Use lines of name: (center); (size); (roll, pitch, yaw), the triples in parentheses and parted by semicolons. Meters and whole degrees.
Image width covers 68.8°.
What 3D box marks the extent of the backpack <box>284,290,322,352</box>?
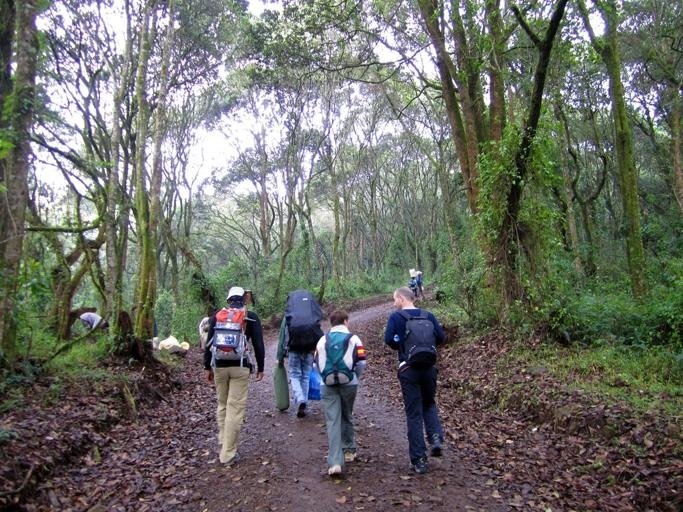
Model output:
backpack: (-0.779, 1.341, 10.320); (0.684, 1.318, 0.457); (-1, -5, 0)

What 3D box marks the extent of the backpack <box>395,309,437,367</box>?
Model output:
backpack: (1.292, 1.394, 8.282); (0.444, 0.873, 0.833); (2, -24, -4)

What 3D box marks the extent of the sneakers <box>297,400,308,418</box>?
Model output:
sneakers: (-0.814, 3.124, 10.061); (0.130, 0.393, 0.157); (1, 29, -2)

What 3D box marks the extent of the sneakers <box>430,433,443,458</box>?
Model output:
sneakers: (1.566, 3.147, 8.234); (0.127, 0.205, 0.428); (1, -44, 4)

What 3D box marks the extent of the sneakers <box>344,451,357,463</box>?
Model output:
sneakers: (0.151, 3.476, 8.571); (0.181, 0.220, 0.126); (-3, -12, -9)

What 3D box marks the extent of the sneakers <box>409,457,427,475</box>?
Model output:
sneakers: (1.284, 3.487, 8.215); (0.143, 0.184, 0.343); (3, -11, 0)
